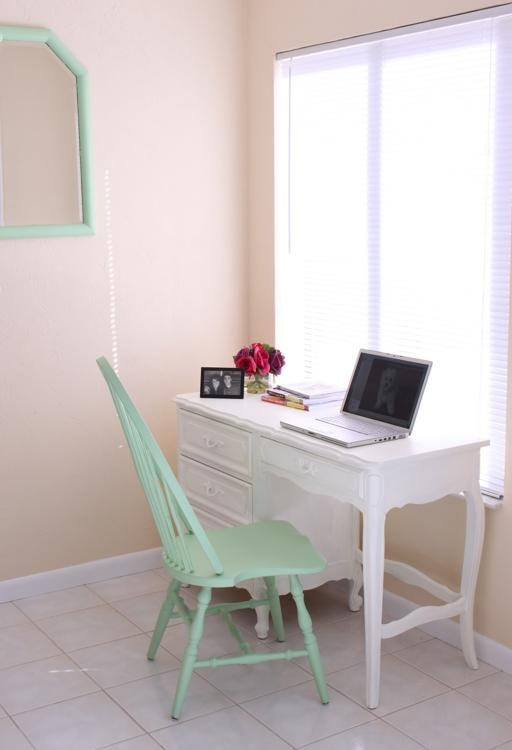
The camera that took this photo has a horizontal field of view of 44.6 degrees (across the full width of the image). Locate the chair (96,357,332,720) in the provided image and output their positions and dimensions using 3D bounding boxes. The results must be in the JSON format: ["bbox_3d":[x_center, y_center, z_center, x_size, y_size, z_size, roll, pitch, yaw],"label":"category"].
[{"bbox_3d":[-0.095,0.396,1.632,0.544,0.830,0.443,-1,3,-3],"label":"chair"}]

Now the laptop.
[{"bbox_3d":[0.276,0.058,1.741,0.359,0.204,0.349,7,11,44],"label":"laptop"}]

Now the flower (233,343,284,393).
[{"bbox_3d":[0.005,-0.033,2.362,0.182,0.180,0.182,1,5,-4],"label":"flower"}]

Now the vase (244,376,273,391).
[{"bbox_3d":[0.014,0.036,2.353,0.068,0.071,0.068,0,5,-14],"label":"vase"}]

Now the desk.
[{"bbox_3d":[0.165,0.477,2.025,0.444,0.686,1.019,-5,7,-32],"label":"desk"}]
